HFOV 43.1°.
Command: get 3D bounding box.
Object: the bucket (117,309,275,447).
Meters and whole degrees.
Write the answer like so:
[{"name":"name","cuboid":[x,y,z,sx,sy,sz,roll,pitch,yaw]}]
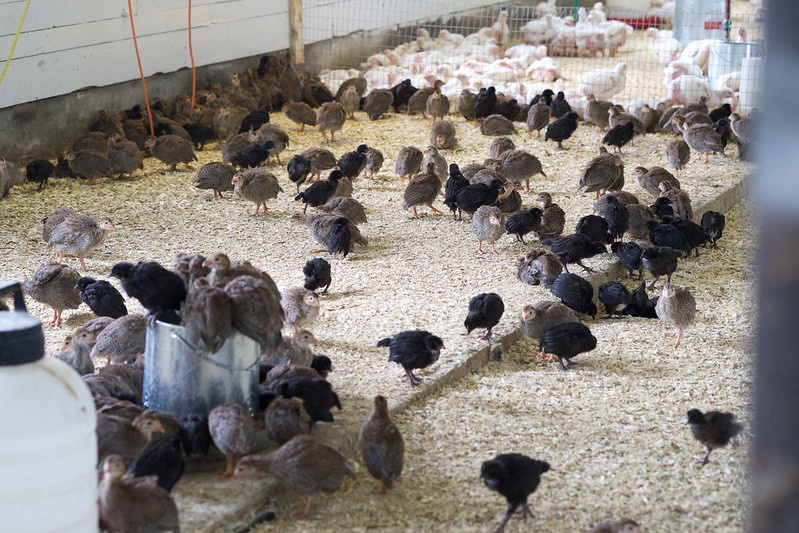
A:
[{"name":"bucket","cuboid":[-1.808,1.026,9.240,1.119,1.119,1.058,2,-6,0]}]
